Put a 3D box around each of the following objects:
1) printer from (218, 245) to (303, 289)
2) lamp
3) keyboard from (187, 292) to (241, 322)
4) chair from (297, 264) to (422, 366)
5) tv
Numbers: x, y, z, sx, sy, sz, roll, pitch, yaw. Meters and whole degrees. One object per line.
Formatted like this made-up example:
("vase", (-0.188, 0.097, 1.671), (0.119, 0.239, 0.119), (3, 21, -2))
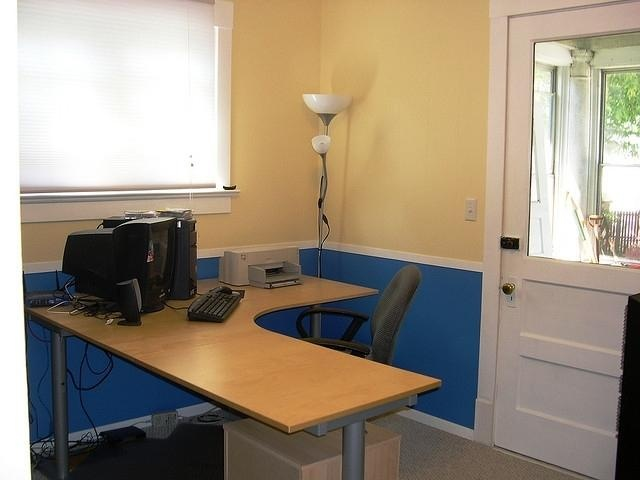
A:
("printer", (-0.388, 0.164, 3.241), (0.438, 0.273, 0.287), (-2, 11, -37))
("lamp", (0.030, -0.185, 3.776), (0.324, 1.856, 0.375), (3, 9, 6))
("keyboard", (-0.536, 0.336, 2.481), (0.223, 0.090, 0.295), (4, 7, -1))
("chair", (0.144, 0.361, 2.568), (0.523, 0.842, 0.586), (8, 3, -2))
("tv", (-1.065, 0.104, 2.661), (0.494, 0.477, 0.458), (4, 7, -12))
